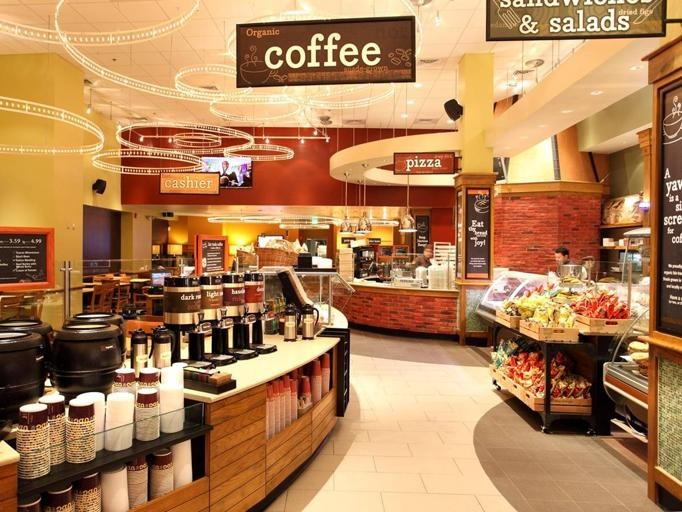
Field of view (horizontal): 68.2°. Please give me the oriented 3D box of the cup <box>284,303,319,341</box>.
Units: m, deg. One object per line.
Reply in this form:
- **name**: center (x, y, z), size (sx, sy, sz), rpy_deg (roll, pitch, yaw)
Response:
- **cup**: center (-0.415, 0.652, 5.007), size (0.453, 0.410, 0.223), rpy_deg (1, -3, -10)

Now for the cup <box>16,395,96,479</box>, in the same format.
- **cup**: center (-1.674, 1.041, 3.037), size (0.439, 0.372, 0.446), rpy_deg (-1, -1, 0)

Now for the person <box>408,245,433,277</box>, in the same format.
- **person**: center (1.722, 0.078, 10.964), size (0.465, 0.641, 1.078), rpy_deg (2, 6, 14)

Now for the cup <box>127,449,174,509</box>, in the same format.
- **cup**: center (-1.236, 1.427, 3.289), size (0.127, 0.305, 0.298), rpy_deg (6, 8, 43)

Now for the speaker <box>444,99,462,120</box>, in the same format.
- **speaker**: center (2.086, -2.777, 9.421), size (0.308, 0.372, 0.428), rpy_deg (1, 6, 8)

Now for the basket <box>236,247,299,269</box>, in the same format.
- **basket**: center (-0.956, 0.014, 6.325), size (0.823, 0.278, 0.459), rpy_deg (1, 6, 7)
